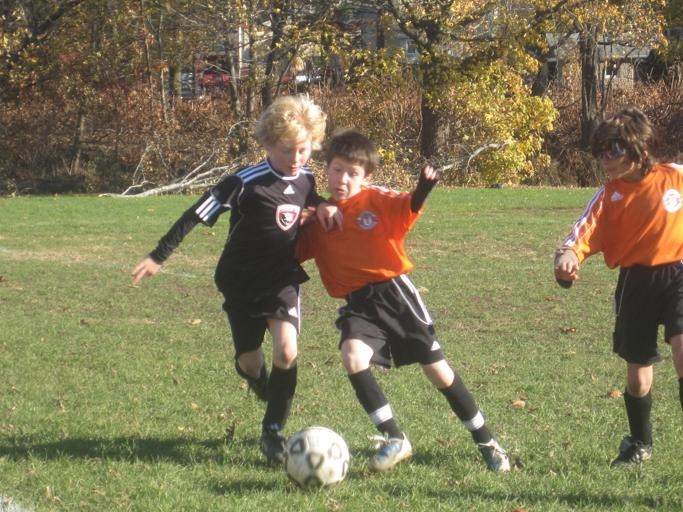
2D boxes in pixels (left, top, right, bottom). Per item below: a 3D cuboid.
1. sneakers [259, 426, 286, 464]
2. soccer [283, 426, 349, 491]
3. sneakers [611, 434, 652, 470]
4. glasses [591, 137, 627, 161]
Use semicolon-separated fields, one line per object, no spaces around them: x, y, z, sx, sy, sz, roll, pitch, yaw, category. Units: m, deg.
-0.667;1.845;9.597;0.173;0.215;0.439;-1;1;-25;sneakers
-0.239;1.959;9.448;0.621;0.628;0.596;5;8;7;soccer
2.802;1.909;9.578;0.444;0.192;0.208;1;0;-41;sneakers
2.560;-1.016;9.480;0.315;0.185;0.117;6;7;42;glasses
